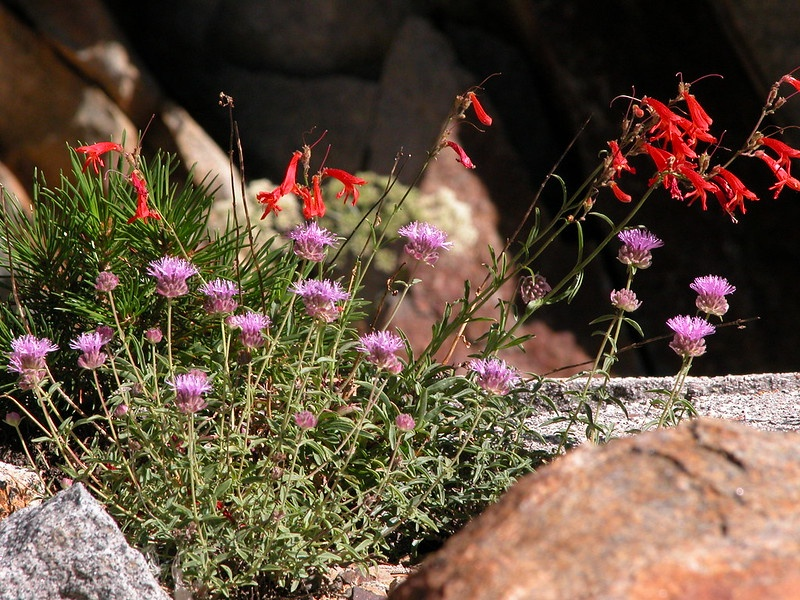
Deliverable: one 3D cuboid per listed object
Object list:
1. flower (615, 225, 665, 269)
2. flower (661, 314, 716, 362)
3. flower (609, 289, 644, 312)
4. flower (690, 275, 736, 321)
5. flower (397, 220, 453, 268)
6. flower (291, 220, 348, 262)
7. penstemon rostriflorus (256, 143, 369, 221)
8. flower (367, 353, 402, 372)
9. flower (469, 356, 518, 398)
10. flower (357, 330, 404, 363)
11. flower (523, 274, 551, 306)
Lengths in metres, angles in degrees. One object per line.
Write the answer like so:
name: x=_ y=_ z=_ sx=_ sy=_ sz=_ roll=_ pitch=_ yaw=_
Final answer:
flower: x=1.100 y=-0.241 z=5.292 sx=0.181 sy=0.192 sz=0.205 roll=1 pitch=-9 yaw=30
flower: x=1.321 y=0.167 z=5.210 sx=0.189 sy=0.230 sz=0.192 roll=15 pitch=-9 yaw=-25
flower: x=1.044 y=0.002 z=5.297 sx=0.119 sy=0.074 sz=0.120 roll=-4 pitch=34 yaw=-46
flower: x=1.441 y=0.000 z=5.265 sx=0.187 sy=0.217 sz=0.185 roll=-2 pitch=5 yaw=-30
flower: x=0.104 y=-0.279 z=5.265 sx=0.199 sy=0.161 sz=0.208 roll=32 pitch=19 yaw=23
flower: x=-0.384 y=-0.261 z=5.153 sx=0.161 sy=0.141 sz=0.182 roll=11 pitch=18 yaw=1
penstemon rostriflorus: x=-0.617 y=-0.785 z=7.661 sx=0.649 sy=0.800 sz=0.371 roll=0 pitch=16 yaw=-14
flower: x=-0.052 y=0.288 z=4.983 sx=0.090 sy=0.052 sz=0.073 roll=18 pitch=-4 yaw=8
flower: x=0.417 y=0.390 z=5.008 sx=0.164 sy=0.115 sz=0.175 roll=25 pitch=14 yaw=-24
flower: x=-0.076 y=0.182 z=5.007 sx=0.135 sy=0.121 sz=0.148 roll=0 pitch=10 yaw=-13
flower: x=0.631 y=-0.037 z=5.447 sx=0.115 sy=0.141 sz=0.078 roll=-5 pitch=33 yaw=-13
